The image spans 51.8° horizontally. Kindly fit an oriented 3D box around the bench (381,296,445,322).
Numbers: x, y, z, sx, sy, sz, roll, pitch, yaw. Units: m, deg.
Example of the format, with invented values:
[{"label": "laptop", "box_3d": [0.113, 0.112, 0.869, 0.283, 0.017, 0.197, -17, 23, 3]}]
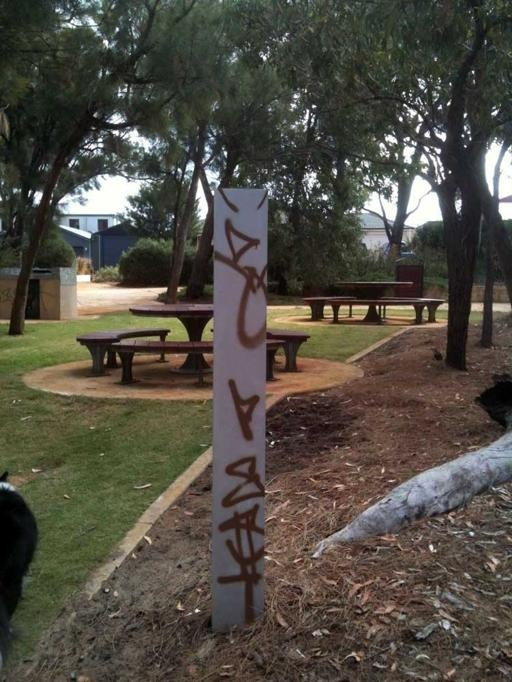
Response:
[{"label": "bench", "box_3d": [4.381, -1.009, 14.944, 1.456, 0.386, 1.473, 3, 8, 26]}]
